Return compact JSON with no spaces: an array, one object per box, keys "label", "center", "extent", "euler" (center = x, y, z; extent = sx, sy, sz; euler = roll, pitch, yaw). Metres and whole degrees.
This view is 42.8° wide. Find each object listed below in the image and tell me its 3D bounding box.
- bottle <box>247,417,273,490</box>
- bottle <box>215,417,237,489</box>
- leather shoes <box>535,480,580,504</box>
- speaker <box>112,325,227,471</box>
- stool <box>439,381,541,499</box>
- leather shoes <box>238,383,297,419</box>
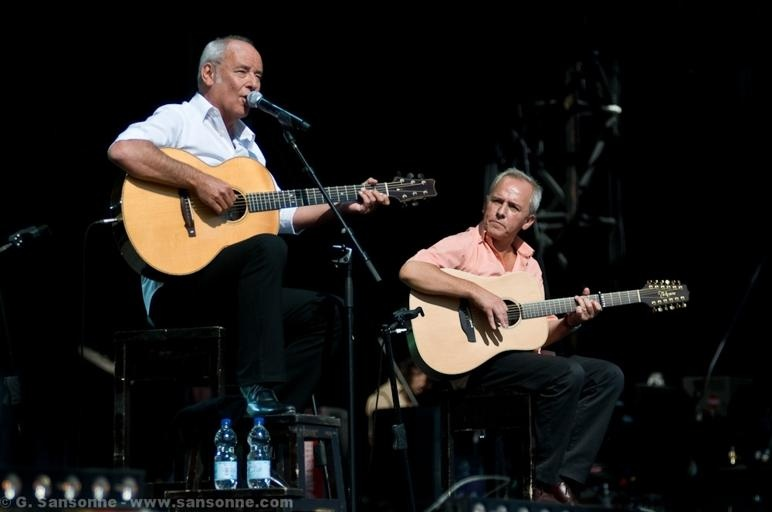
[{"label":"bottle","center":[-0.760,1.178,5.917],"extent":[0.142,0.418,0.347],"euler":[0,-10,-7]},{"label":"bottle","center":[-0.971,1.197,5.963],"extent":[0.143,0.412,0.379],"euler":[0,-10,-10]},{"label":"leather shoes","center":[1.191,1.606,6.686],"extent":[0.371,0.146,0.177],"euler":[7,-13,-40]},{"label":"speaker","center":[-1.481,1.002,6.677],"extent":[0.697,0.919,1.273],"euler":[1,-10,-15]},{"label":"stool","center":[0.760,1.365,7.119],"extent":[0.603,0.749,0.848],"euler":[-3,-10,6]},{"label":"leather shoes","center":[-0.715,0.878,5.965],"extent":[0.351,0.194,0.158],"euler":[-2,-10,4]}]
